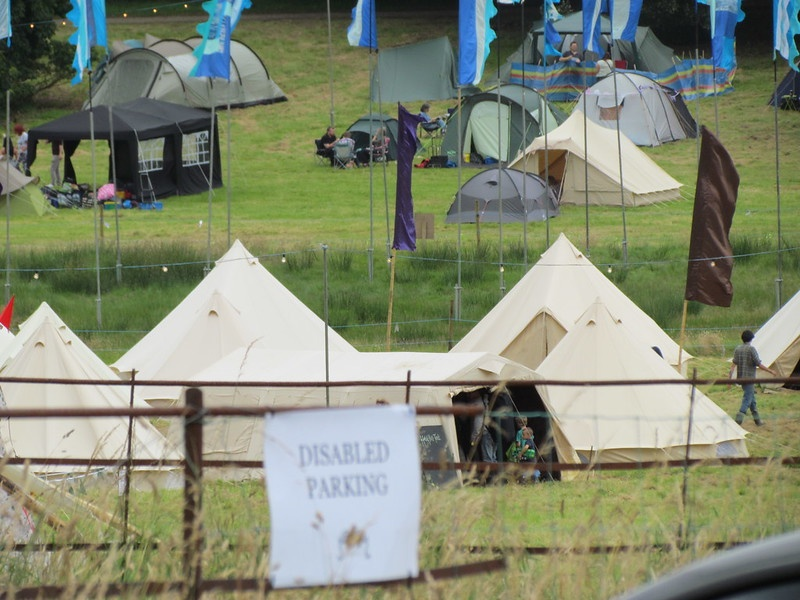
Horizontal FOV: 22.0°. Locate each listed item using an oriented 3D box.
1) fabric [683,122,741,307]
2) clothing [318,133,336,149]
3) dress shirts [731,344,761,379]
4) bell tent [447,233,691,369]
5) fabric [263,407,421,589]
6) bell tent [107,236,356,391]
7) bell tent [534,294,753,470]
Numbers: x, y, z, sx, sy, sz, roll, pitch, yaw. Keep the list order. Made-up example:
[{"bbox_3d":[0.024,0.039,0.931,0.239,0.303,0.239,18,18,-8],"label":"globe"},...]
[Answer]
[{"bbox_3d":[5.897,-1.748,38.476,0.751,3.155,0.308,13,-35,-4],"label":"fabric"},{"bbox_3d":[-1.863,-3.989,52.183,0.495,0.518,0.306,0,1,-22],"label":"clothing"},{"bbox_3d":[6.611,1.176,39.165,0.436,0.913,0.238,5,13,29],"label":"dress shirts"},{"bbox_3d":[2.972,0.121,40.028,2.901,1.904,3.051,-3,3,-30],"label":"bell tent"},{"bbox_3d":[-0.945,2.994,32.291,2.122,2.789,0.254,-2,-2,-4],"label":"fabric"},{"bbox_3d":[-3.202,0.442,40.472,2.994,1.917,3.365,-1,1,18],"label":"bell tent"},{"bbox_3d":[3.849,1.224,39.186,3.823,2.367,3.991,3,-1,-38],"label":"bell tent"}]
